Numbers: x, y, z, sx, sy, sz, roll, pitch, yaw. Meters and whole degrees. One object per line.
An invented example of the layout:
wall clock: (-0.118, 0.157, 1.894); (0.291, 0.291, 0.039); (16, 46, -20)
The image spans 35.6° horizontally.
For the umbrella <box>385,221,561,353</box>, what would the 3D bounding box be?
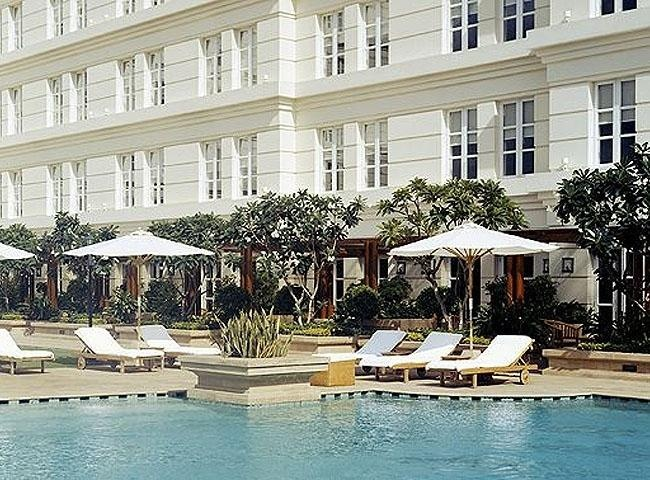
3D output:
umbrella: (3.769, 1.404, 25.343); (3.177, 3.141, 3.372); (2, 5, 23)

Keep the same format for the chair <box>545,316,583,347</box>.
chair: (6.074, 2.226, 25.589); (0.783, 0.964, 0.639); (3, -9, -34)
